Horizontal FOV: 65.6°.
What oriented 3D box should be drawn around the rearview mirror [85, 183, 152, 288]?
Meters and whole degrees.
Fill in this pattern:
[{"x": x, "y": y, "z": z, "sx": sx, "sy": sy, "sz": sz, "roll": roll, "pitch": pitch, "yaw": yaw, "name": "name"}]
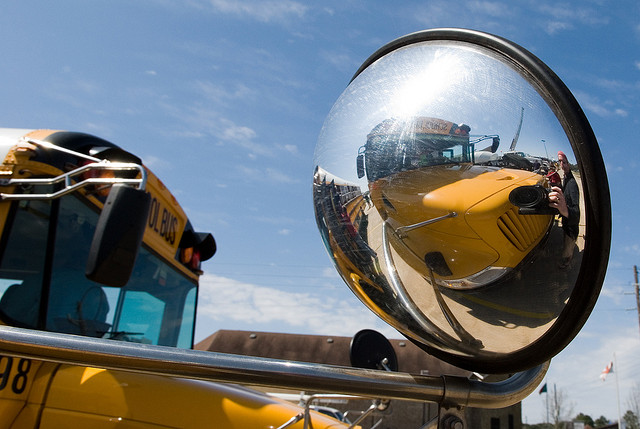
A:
[{"x": -0.990, "y": 0.108, "z": 2.482, "sx": 0.137, "sy": 0.524, "sz": 0.256, "roll": -11, "pitch": -32, "yaw": 25, "name": "rearview mirror"}]
